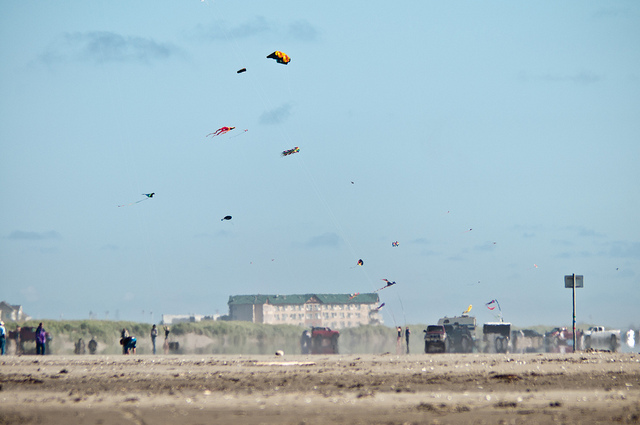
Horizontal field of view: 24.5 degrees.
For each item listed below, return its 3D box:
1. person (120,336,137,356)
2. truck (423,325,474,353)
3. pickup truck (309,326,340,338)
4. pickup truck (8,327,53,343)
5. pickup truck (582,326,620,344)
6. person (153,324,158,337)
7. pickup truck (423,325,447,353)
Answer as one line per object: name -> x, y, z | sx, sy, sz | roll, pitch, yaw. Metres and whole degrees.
person -> -14.974, 10.505, 115.260 | 0.667, 1.644, 1.241 | 3, 9, -25
truck -> 10.846, 10.413, 121.730 | 2.665, 2.359, 5.433 | -1, -1, 28
pickup truck -> 0.503, 10.368, 128.672 | 1.730, 0.927, 1.027 | -1, -2, 3
pickup truck -> -24.470, 10.083, 122.341 | 2.933, 0.957, 1.690 | 2, -4, 3
pickup truck -> 25.183, 10.699, 130.458 | 3.128, 1.475, 2.788 | 0, -1, 11
person -> -13.517, 9.691, 120.958 | 0.356, 0.941, 0.964 | 0, -1, -9
pickup truck -> 9.807, 10.349, 121.428 | 1.880, 2.357, 3.882 | -3, -9, 8
